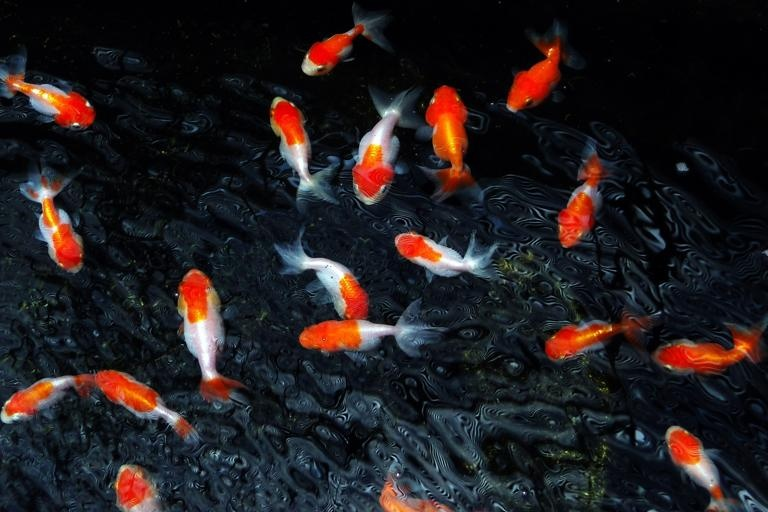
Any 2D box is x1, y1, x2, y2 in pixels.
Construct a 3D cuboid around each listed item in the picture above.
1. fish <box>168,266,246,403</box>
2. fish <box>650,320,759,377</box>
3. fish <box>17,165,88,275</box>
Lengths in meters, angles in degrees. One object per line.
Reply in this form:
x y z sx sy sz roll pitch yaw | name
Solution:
-1.169 0.470 5.455 0.317 0.362 0.940 -9 73 -10 | fish
2.209 0.625 5.692 0.670 0.288 0.306 -6 86 -11 | fish
-2.321 -0.280 5.894 0.372 0.325 0.826 -23 78 -1 | fish
